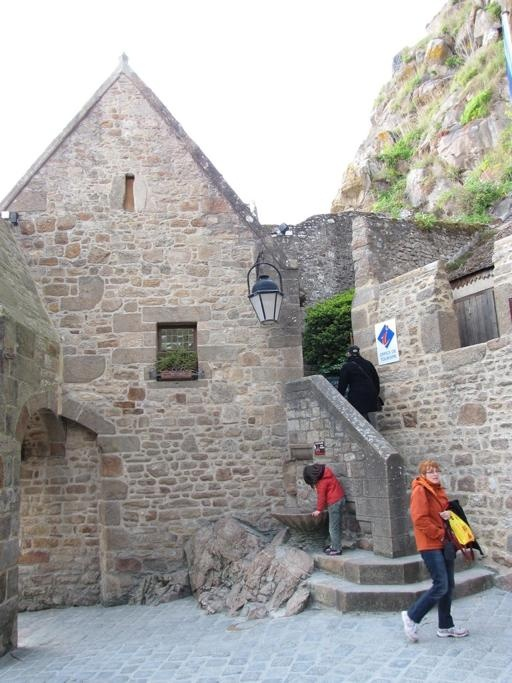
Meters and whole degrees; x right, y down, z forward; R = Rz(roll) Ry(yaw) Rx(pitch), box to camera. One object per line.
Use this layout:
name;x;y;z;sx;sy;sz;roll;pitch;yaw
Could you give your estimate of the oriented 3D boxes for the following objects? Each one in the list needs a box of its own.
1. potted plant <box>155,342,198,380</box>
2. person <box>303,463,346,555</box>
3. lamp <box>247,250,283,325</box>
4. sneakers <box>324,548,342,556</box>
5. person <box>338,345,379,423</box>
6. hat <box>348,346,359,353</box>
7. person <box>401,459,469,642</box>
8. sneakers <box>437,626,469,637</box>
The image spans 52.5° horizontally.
potted plant;-1.166;0.318;7.733;0.544;0.468;0.189;-1;-24;-5
person;0.764;1.814;5.721;0.400;0.904;0.450;-10;-12;22
lamp;0.125;-0.853;7.712;0.541;1.254;0.942;-6;-11;3
sneakers;0.816;2.187;5.464;0.146;0.055;0.065;0;-10;31
person;1.468;0.536;7.465;0.598;0.982;0.347;-6;-11;5
hat;1.449;0.110;7.632;0.120;0.100;0.180;8;-8;6
person;1.242;1.523;3.805;0.452;1.260;0.409;-8;-11;11
sneakers;1.428;2.103;3.768;0.205;0.078;0.082;-7;-13;12
